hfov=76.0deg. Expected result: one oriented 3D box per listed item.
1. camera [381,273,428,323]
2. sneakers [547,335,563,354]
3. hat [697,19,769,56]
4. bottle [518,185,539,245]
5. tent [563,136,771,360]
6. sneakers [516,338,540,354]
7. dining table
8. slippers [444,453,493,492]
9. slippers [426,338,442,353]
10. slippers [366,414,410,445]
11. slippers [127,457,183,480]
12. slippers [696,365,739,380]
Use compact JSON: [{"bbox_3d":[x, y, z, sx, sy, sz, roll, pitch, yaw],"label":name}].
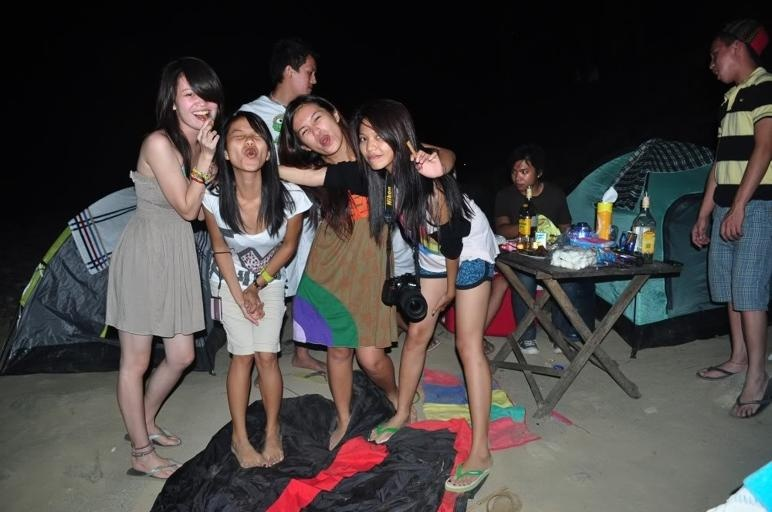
[{"bbox_3d":[0.178,0.286,3.727,0.349,0.204,0.373,-4,27,-21],"label":"camera"},{"bbox_3d":[1.880,0.965,5.398,0.079,0.189,0.258,-29,0,2],"label":"sneakers"},{"bbox_3d":[3.155,-1.911,4.336,0.453,0.340,0.194,-5,8,-5],"label":"hat"},{"bbox_3d":[1.386,-0.298,4.871,0.171,0.435,0.218,-3,8,15],"label":"bottle"},{"bbox_3d":[2.936,-0.200,6.194,2.502,2.170,2.421,-8,27,-7],"label":"tent"},{"bbox_3d":[1.547,0.980,5.374,0.218,0.167,0.152,3,35,20],"label":"sneakers"},{"bbox_3d":[1.770,0.618,4.966,1.623,1.464,1.650,0,2,-12],"label":"dining table"},{"bbox_3d":[0.625,1.635,3.716,0.338,0.095,0.150,-8,6,-41],"label":"slippers"},{"bbox_3d":[0.515,0.961,5.458,0.126,0.092,0.344,1,18,22],"label":"slippers"},{"bbox_3d":[0.012,1.427,4.076,0.364,0.075,0.145,-19,21,-37],"label":"slippers"},{"bbox_3d":[-1.802,1.650,3.835,0.321,0.125,0.164,-3,22,5],"label":"slippers"},{"bbox_3d":[3.237,1.144,4.842,0.355,0.082,0.151,-3,25,6],"label":"slippers"}]
